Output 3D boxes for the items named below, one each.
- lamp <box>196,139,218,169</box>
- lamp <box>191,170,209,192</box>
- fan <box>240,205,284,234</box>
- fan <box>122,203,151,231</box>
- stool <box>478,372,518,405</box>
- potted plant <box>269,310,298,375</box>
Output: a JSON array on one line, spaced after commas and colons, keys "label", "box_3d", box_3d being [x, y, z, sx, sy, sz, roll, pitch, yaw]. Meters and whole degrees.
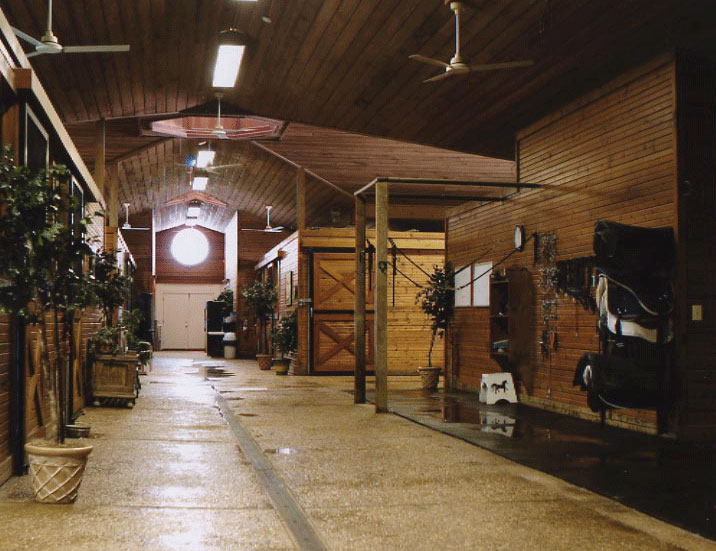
[{"label": "lamp", "box_3d": [-3.727, -2.933, 17.480, 0.593, 0.591, 1.080, 1, -1, -6]}, {"label": "lamp", "box_3d": [-4.391, -2.622, 19.918, 0.403, 0.412, 0.737, 2, 0, -5]}, {"label": "fan", "box_3d": [-2.985, -1.691, 23.889, 1.170, 0.660, 0.977, 2, 0, -24]}, {"label": "fan", "box_3d": [-7.885, -2.009, 25.386, 0.972, 0.956, 0.910, -1, 0, -25]}, {"label": "stool", "box_3d": [2.036, 1.641, 10.451, 0.506, 0.426, 0.420, 2, -12, -13]}, {"label": "potted plant", "box_3d": [-1.670, 1.448, 16.314, 0.569, 1.375, 1.295, 0, -1, -6]}]
